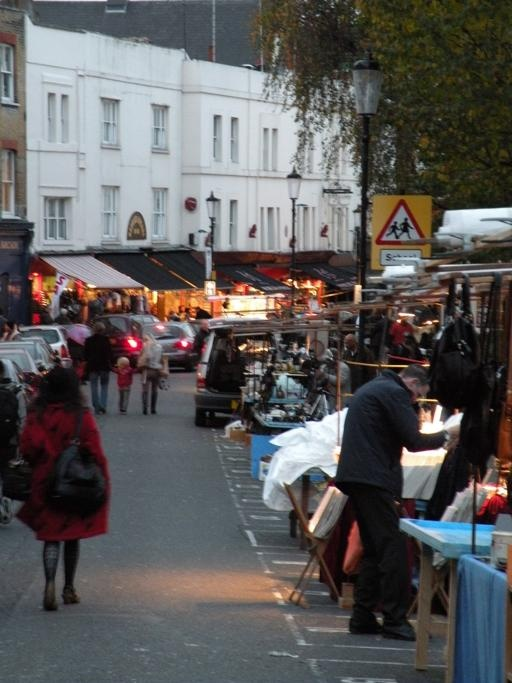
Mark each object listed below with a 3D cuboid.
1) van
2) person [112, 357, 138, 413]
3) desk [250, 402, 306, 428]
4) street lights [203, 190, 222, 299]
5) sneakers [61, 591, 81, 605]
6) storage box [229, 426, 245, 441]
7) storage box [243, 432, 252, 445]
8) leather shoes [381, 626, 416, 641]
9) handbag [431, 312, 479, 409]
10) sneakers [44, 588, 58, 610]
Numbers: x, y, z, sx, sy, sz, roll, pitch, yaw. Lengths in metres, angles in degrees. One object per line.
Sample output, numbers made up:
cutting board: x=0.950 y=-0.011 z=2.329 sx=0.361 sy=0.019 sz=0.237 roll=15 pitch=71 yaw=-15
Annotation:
van: x=-0.483 y=0.713 z=20.067 sx=1.253 sy=1.302 sz=2.327 roll=0 pitch=9 yaw=-1
person: x=-3.035 y=1.056 z=25.037 sx=1.000 sy=1.114 sz=0.367 roll=4 pitch=20 yaw=10
desk: x=0.347 y=1.008 z=14.844 sx=0.453 sy=0.184 sz=0.801 roll=2 pitch=5 yaw=-13
street lights: x=-1.873 y=-3.875 z=46.156 sx=0.687 sy=4.481 sz=0.929 roll=6 pitch=-7 yaw=-20
sneakers: x=-1.228 y=1.693 z=7.203 sx=0.061 sy=0.127 sz=0.130 roll=6 pitch=9 yaw=28
storage box: x=-0.310 y=1.634 z=19.113 sx=0.203 sy=0.131 sz=0.207 roll=3 pitch=12 yaw=4
storage box: x=-0.133 y=1.683 z=18.555 sx=0.146 sy=0.281 sz=0.277 roll=0 pitch=-2 yaw=2
leather shoes: x=0.873 y=1.760 z=6.546 sx=0.202 sy=0.100 sz=0.076 roll=0 pitch=1 yaw=11
handbag: x=0.987 y=0.112 z=5.347 sx=0.230 sy=0.476 sz=0.321 roll=2 pitch=4 yaw=9
sneakers: x=-1.316 y=1.639 z=6.926 sx=0.089 sy=0.153 sz=0.181 roll=0 pitch=4 yaw=-11
